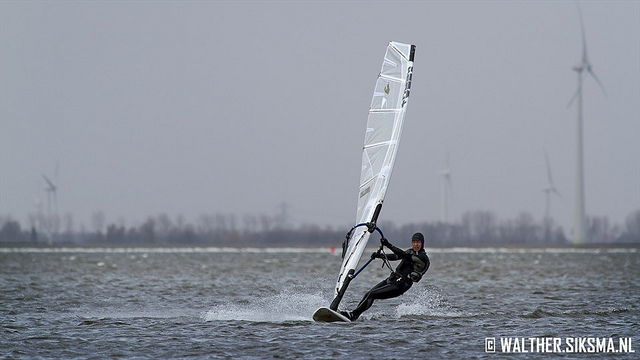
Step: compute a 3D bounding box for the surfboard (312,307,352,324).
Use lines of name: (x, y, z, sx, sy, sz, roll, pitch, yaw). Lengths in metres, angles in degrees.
surfboard: (0.429, 7.202, 62.833, 0.951, 0.430, 1.656, -15, -48, 43)
